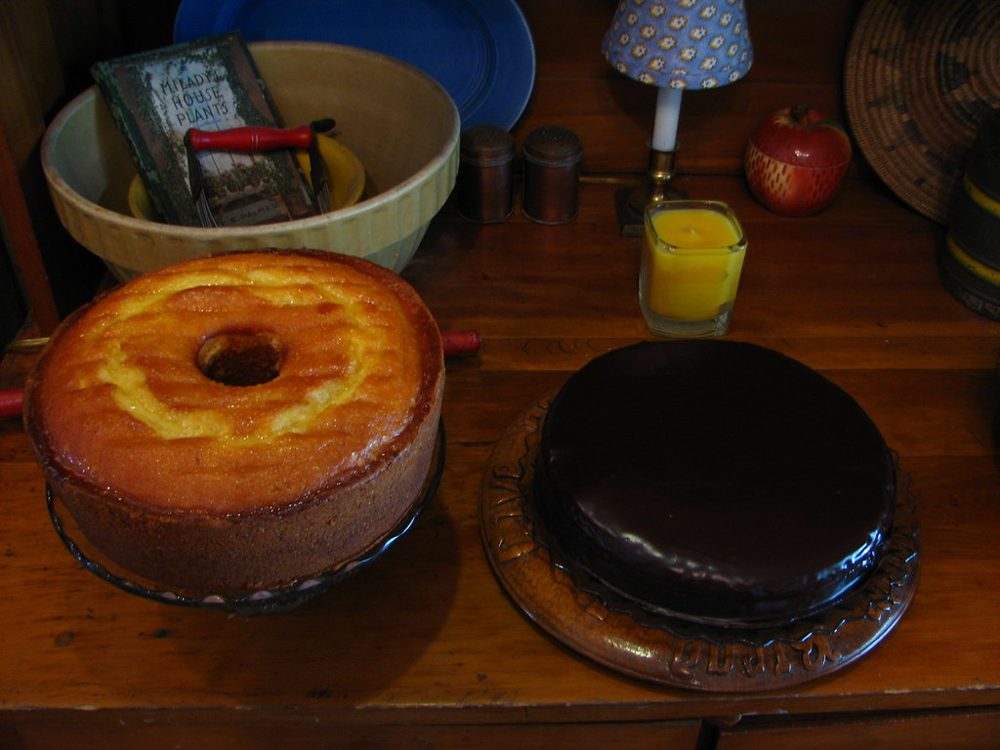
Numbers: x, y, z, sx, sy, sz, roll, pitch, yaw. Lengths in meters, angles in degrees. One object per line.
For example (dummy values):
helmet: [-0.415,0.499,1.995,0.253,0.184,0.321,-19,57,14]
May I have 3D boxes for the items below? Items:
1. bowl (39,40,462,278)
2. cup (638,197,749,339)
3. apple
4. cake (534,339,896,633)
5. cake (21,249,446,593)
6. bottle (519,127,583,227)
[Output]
bowl: [-0.255,-0.231,1.032,0.433,0.192,0.344,-30,48,-34]
cup: [0.193,-0.130,1.155,0.205,0.168,0.158,1,42,3]
apple: [0.395,-0.302,1.283,0.170,0.118,0.131,-5,40,-21]
cake: [0.191,0.094,0.857,0.309,0.132,0.269,7,38,8]
cake: [-0.200,0.034,0.717,0.368,0.088,0.266,2,42,0]
bottle: [0.070,-0.279,1.256,0.077,0.120,0.120,2,42,0]
